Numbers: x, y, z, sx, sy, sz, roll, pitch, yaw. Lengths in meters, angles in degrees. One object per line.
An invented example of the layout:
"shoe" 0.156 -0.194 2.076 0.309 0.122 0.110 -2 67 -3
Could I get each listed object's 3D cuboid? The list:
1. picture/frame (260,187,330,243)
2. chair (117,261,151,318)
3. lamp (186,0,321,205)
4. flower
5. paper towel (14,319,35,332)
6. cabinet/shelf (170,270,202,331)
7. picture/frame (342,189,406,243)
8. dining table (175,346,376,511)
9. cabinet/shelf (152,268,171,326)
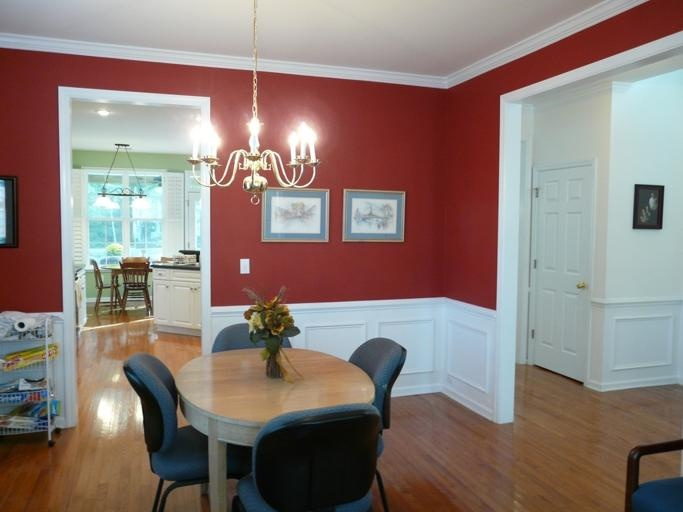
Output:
"picture/frame" -0.469 -0.393 4.849 0.483 0.424 0.023 0 5 -13
"chair" -3.646 0.523 9.116 0.532 0.941 1.111 -3 9 -21
"lamp" -0.611 -1.120 4.006 1.115 1.497 1.950 -2 8 -15
"flower" -0.436 0.430 3.327 0.303 0.435 0.362 -1 -1 7
"paper towel" -2.547 0.559 4.137 0.099 0.114 0.128 -5 -2 -26
"cabinet/shelf" -2.357 0.627 7.407 0.439 0.882 0.609 -2 -9 23
"picture/frame" 0.285 -0.404 5.066 0.481 0.433 0.037 1 0 -20
"dining table" -0.466 0.847 3.150 1.112 0.914 1.121 -2 4 -22
"cabinet/shelf" -2.611 0.585 7.462 0.385 0.813 0.129 6 10 39
